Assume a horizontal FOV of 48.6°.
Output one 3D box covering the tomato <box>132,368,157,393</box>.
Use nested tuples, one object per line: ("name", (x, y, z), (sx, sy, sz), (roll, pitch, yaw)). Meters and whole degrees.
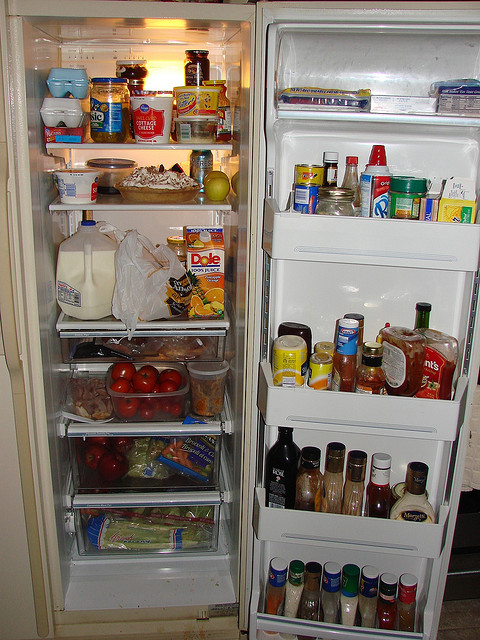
("tomato", (-0.279, 0.173, 1.544), (0.061, 0.063, 0.060), (4, 23, -6))

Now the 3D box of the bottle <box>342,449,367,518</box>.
("bottle", (0.258, 0.390, 1.197), (0.048, 0.192, 0.135), (4, 16, 13))

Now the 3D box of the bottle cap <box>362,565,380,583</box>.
("bottle cap", (0.312, 0.595, 1.263), (0.032, 0.029, 0.033), (-6, 21, -15))

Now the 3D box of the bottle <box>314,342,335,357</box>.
("bottle", (0.194, 0.061, 1.181), (0.029, 0.027, 0.029), (3, 22, 2))

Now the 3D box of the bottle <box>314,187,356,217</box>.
("bottle", (0.190, -0.236, 1.056), (0.071, 0.069, 0.071), (-15, 25, -29))

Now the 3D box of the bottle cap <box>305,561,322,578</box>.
("bottle cap", (0.182, 0.600, 1.285), (0.033, 0.031, 0.033), (-2, 15, 3))

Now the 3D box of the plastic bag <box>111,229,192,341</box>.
("plastic bag", (-0.231, -0.105, 1.466), (0.184, 0.296, 0.264), (2, 10, 35))

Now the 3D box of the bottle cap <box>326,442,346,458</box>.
("bottle cap", (0.211, 0.283, 1.163), (0.031, 0.019, 0.032), (-13, 27, -27))

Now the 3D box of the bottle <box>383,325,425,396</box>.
("bottle", (0.339, 0.092, 1.133), (0.085, 0.133, 0.099), (-3, 16, -11))

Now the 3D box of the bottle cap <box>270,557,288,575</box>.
("bottle cap", (0.094, 0.593, 1.282), (0.029, 0.031, 0.029), (5, 29, 3))

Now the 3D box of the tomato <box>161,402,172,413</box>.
("tomato", (-0.212, 0.251, 1.530), (0.027, 0.027, 0.026), (3, 15, 7))

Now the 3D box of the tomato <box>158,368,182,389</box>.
("tomato", (-0.219, 0.177, 1.593), (0.050, 0.050, 0.049), (-1, 58, -4))

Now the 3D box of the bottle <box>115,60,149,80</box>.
("bottle", (-0.290, -0.649, 1.369), (0.064, 0.045, 0.065), (2, 30, -1))

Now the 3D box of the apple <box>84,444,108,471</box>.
("apple", (-0.436, 0.403, 1.597), (0.063, 0.064, 0.068), (12, 10, 10))

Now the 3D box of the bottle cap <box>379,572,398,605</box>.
("bottle cap", (0.351, 0.636, 1.258), (0.043, 0.071, 0.040), (-12, 20, -38))

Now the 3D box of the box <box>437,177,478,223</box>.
("box", (0.448, -0.244, 1.078), (0.070, 0.084, 0.131), (7, 17, 24))

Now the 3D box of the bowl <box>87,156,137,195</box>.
("bowl", (-0.377, -0.427, 1.518), (0.129, 0.094, 0.130), (5, 24, -2))

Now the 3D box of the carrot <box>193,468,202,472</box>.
("carrot", (-0.129, 0.452, 1.603), (0.021, 0.007, 0.006), (12, 23, -5))

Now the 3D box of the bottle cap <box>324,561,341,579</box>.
("bottle cap", (0.221, 0.596, 1.267), (0.039, 0.027, 0.034), (-1, 16, -2))

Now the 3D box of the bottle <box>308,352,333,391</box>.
("bottle", (0.174, 0.113, 1.126), (0.043, 0.083, 0.061), (12, 19, 37))

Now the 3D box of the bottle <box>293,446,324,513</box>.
("bottle", (0.155, 0.363, 1.197), (0.060, 0.156, 0.033), (2, 15, 8))

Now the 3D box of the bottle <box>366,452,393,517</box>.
("bottle", (0.325, 0.374, 1.220), (0.057, 0.187, 0.108), (5, 16, 17))

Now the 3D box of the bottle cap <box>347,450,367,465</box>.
("bottle cap", (0.262, 0.306, 1.179), (0.031, 0.019, 0.031), (0, 15, -7))

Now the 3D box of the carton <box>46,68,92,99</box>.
("carton", (-0.409, -0.569, 1.275), (0.085, 0.057, 0.085), (3, 23, 3))

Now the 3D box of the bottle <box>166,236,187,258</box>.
("bottle", (-0.188, -0.222, 1.608), (0.060, 0.062, 0.060), (0, 15, 1))

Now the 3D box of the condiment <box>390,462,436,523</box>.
("condiment", (0.381, 0.395, 1.163), (0.102, 0.168, 0.054), (4, 15, 3))

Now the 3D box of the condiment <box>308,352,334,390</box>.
("condiment", (0.170, 0.107, 1.110), (0.049, 0.082, 0.049), (-9, 26, -25))

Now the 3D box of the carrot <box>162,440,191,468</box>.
("carrot", (-0.190, 0.406, 1.605), (0.077, 0.077, 0.028), (-38, 3, 7))

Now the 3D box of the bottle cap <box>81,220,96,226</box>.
("bottle cap", (-0.406, -0.259, 1.416), (0.042, 0.010, 0.043), (-3, 10, -22))

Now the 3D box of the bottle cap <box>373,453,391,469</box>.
("bottle cap", (0.314, 0.308, 1.165), (0.040, 0.028, 0.029), (-12, 20, -37))

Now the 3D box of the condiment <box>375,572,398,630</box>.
("condiment", (0.358, 0.698, 1.283), (0.051, 0.179, 0.050), (2, 10, 17))

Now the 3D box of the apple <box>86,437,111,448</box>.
("apple", (-0.430, 0.369, 1.621), (0.041, 0.043, 0.043), (18, -31, -23))

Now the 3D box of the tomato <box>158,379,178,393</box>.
("tomato", (-0.210, 0.191, 1.540), (0.036, 0.036, 0.035), (11, 34, 12))

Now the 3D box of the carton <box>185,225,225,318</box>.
("carton", (-0.082, -0.132, 1.500), (0.106, 0.242, 0.126), (1, 9, 11))

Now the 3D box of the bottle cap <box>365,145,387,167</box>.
("bottle cap", (0.275, -0.343, 1.108), (0.048, 0.045, 0.036), (-7, 22, -4))

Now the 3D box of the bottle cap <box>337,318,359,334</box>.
("bottle cap", (0.219, 0.011, 1.076), (0.030, 0.033, 0.031), (-4, 23, -13))

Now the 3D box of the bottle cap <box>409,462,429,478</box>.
("bottle cap", (0.380, 0.318, 1.127), (0.029, 0.017, 0.029), (-4, 29, -8))

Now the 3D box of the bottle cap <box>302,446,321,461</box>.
("bottle cap", (0.159, 0.297, 1.180), (0.038, 0.020, 0.035), (2, 16, 7))

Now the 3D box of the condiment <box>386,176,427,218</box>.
("condiment", (0.335, -0.239, 1.056), (0.079, 0.088, 0.079), (7, 24, 20))

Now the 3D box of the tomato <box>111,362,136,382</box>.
("tomato", (-0.339, 0.150, 1.603), (0.058, 0.061, 0.057), (8, -21, 30))

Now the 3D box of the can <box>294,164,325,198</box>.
("can", (0.139, -0.278, 1.047), (0.047, 0.034, 0.047), (1, 24, -1))

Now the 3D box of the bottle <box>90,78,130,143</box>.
("bottle", (-0.325, -0.523, 1.330), (0.117, 0.155, 0.118), (3, 20, -1))

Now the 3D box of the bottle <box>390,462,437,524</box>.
("bottle", (0.380, 0.395, 1.160), (0.103, 0.168, 0.055), (5, 12, 4))

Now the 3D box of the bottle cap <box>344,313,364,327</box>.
("bottle cap", (0.248, -0.006, 1.147), (0.033, 0.030, 0.033), (3, 18, 3))

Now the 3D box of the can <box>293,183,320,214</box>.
("can", (0.131, -0.242, 1.052), (0.057, 0.063, 0.058), (-5, 27, -17))

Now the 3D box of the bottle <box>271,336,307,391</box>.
("bottle", (0.105, 0.088, 1.116), (0.071, 0.093, 0.071), (0, 15, 0))

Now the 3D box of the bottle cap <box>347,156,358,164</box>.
("bottle cap", (0.233, -0.328, 1.093), (0.016, 0.011, 0.017), (-1, 14, -12))

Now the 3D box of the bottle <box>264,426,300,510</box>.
("bottle", (0.096, 0.337, 1.219), (0.081, 0.216, 0.098), (2, 15, 7))

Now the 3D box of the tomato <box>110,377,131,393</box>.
("tomato", (-0.341, 0.186, 1.526), (0.042, 0.042, 0.042), (-31, 27, -29))

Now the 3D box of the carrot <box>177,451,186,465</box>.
("carrot", (-0.178, 0.415, 1.603), (0.021, 0.038, 0.011), (-11, 2, 13))

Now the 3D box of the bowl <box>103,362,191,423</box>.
("bowl", (-0.277, 0.197, 1.559), (0.223, 0.108, 0.174), (2, 27, -6))

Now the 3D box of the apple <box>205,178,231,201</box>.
("apple", (-0.059, -0.350, 1.422), (0.059, 0.048, 0.060), (-2, 9, -14))

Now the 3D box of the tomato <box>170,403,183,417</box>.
("tomato", (-0.185, 0.259, 1.537), (0.034, 0.036, 0.037), (-2, 13, 0))

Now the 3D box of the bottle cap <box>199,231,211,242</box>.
("bottle cap", (-0.093, -0.226, 1.430), (0.027, 0.027, 0.012), (0, -20, -4))

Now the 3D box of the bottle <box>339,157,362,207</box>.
("bottle", (0.240, -0.296, 1.139), (0.037, 0.099, 0.122), (3, 16, 10))

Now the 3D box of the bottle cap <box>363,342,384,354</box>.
("bottle cap", (0.274, 0.058, 1.086), (0.037, 0.019, 0.029), (2, 16, 8))
